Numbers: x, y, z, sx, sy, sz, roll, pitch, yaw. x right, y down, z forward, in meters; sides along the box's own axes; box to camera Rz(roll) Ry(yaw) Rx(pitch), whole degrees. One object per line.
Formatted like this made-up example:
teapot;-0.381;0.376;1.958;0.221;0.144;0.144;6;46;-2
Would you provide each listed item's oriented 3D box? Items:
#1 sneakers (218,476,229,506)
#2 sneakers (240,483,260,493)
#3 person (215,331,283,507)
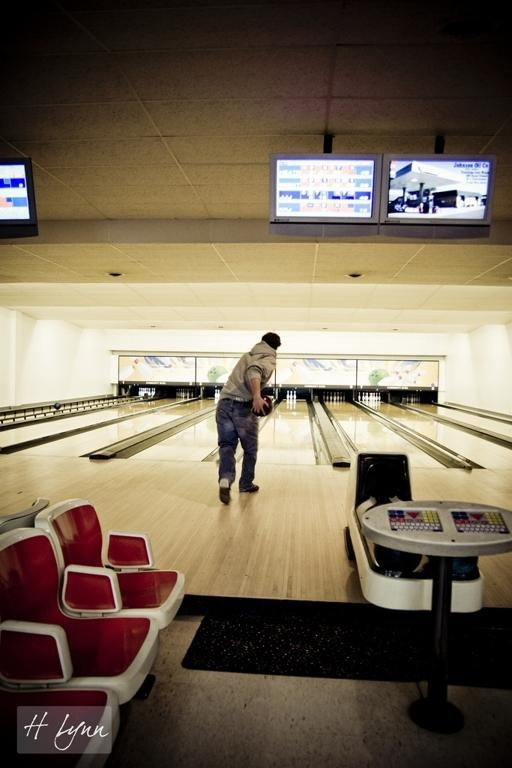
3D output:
sneakers;-0.188;0.655;2.980;0.054;0.152;0.067;-2;8;3
sneakers;-0.045;0.732;3.478;0.147;0.060;0.052;-2;11;-32
person;-0.052;0.227;3.212;0.402;1.120;0.576;0;3;-4
